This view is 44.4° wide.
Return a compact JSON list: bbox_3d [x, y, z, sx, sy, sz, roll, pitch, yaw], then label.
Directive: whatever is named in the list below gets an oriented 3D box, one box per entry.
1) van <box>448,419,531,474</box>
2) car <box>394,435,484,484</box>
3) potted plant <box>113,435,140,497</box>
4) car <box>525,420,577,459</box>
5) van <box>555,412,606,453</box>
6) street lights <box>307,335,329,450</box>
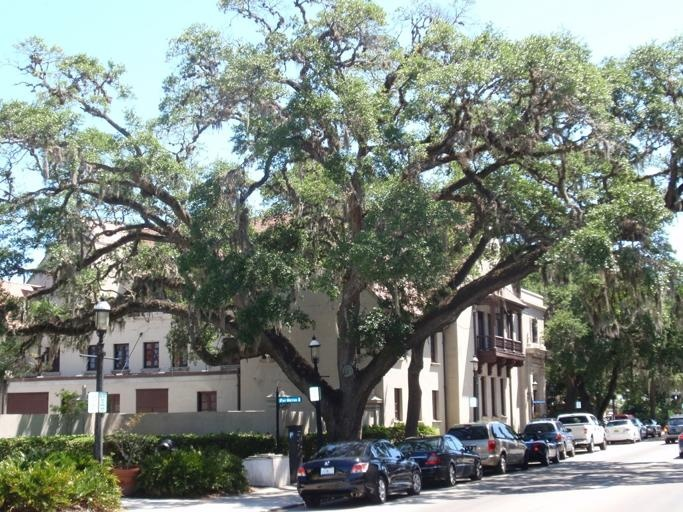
[{"bbox_3d":[6.004,7.385,32.550,1.800,2.056,4.361,-7,-11,36],"label":"van"},{"bbox_3d":[3.356,7.145,29.694,2.242,2.094,2.579,-5,-12,22],"label":"car"},{"bbox_3d":[-7.505,7.367,29.294,1.006,2.323,0.981,-2,-13,0],"label":"potted plant"},{"bbox_3d":[9.584,8.474,38.594,1.469,1.445,3.321,-4,-7,24],"label":"car"},{"bbox_3d":[13.019,9.279,44.613,1.859,2.203,4.667,-7,-11,37],"label":"van"},{"bbox_3d":[-0.952,5.377,32.176,0.712,4.390,0.892,-5,-3,9],"label":"street lights"}]
